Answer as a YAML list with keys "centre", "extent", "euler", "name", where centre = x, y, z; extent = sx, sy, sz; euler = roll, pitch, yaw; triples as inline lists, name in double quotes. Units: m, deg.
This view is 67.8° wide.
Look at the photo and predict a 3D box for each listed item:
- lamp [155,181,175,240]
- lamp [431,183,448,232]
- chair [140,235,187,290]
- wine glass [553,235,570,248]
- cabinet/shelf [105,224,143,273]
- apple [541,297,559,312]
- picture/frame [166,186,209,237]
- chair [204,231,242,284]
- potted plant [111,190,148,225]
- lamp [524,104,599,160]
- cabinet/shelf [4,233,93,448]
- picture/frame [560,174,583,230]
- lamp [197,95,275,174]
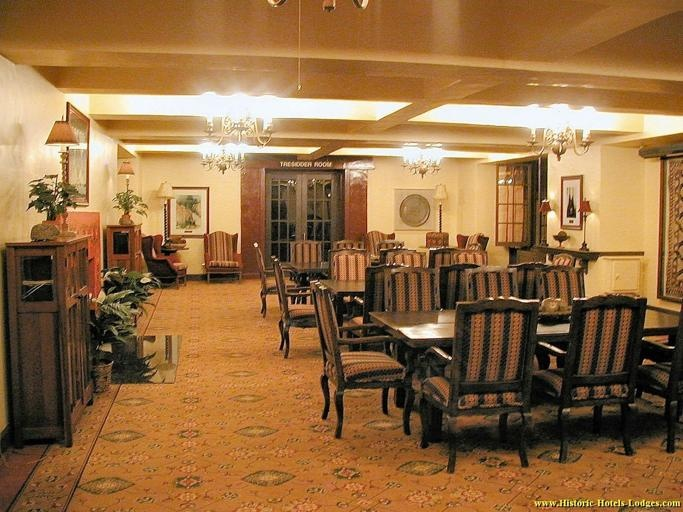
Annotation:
- centre: [-4.444, -1.247, 13.558]
  extent: [0.391, 1.523, 0.964]
  euler: [-2, 7, -18]
  name: "lamp"
- centre: [2.743, -1.419, 14.932]
  extent: [0.345, 1.394, 0.682]
  euler: [1, 7, 10]
  name: "lamp"
- centre: [-4.079, 0.161, 12.220]
  extent: [1.342, 1.296, 1.329]
  euler: [-1, 10, -11]
  name: "chair"
- centre: [4.503, -0.327, 11.033]
  extent: [0.328, 0.187, 0.283]
  euler: [0, 0, 8]
  name: "wine glass"
- centre: [-3.879, -0.152, 9.505]
  extent: [0.441, 0.814, 1.007]
  euler: [-1, 6, -7]
  name: "cabinet/shelf"
- centre: [1.872, 0.465, 4.804]
  extent: [0.136, 0.103, 0.158]
  euler: [5, 7, 36]
  name: "apple"
- centre: [-3.997, -1.222, 14.048]
  extent: [1.433, 1.464, 0.073]
  euler: [2, 2, 24]
  name: "picture/frame"
- centre: [-2.987, -0.029, 13.461]
  extent: [0.871, 1.227, 0.852]
  euler: [-1, 6, -13]
  name: "chair"
- centre: [-3.937, -0.950, 10.013]
  extent: [0.715, 0.571, 0.600]
  euler: [0, -3, -23]
  name: "potted plant"
- centre: [2.735, -1.597, 6.745]
  extent: [1.046, 0.531, 0.550]
  euler: [5, 9, 25]
  name: "lamp"
- centre: [-2.421, 0.699, 4.389]
  extent: [0.510, 1.689, 0.747]
  euler: [-1, 7, -11]
  name: "cabinet/shelf"
- centre: [4.650, -1.151, 10.935]
  extent: [1.074, 1.203, 0.066]
  euler: [-8, 9, -42]
  name: "picture/frame"
- centre: [-1.674, -1.997, 8.376]
  extent: [1.742, 1.002, 0.790]
  euler: [1, 18, -9]
  name: "lamp"
